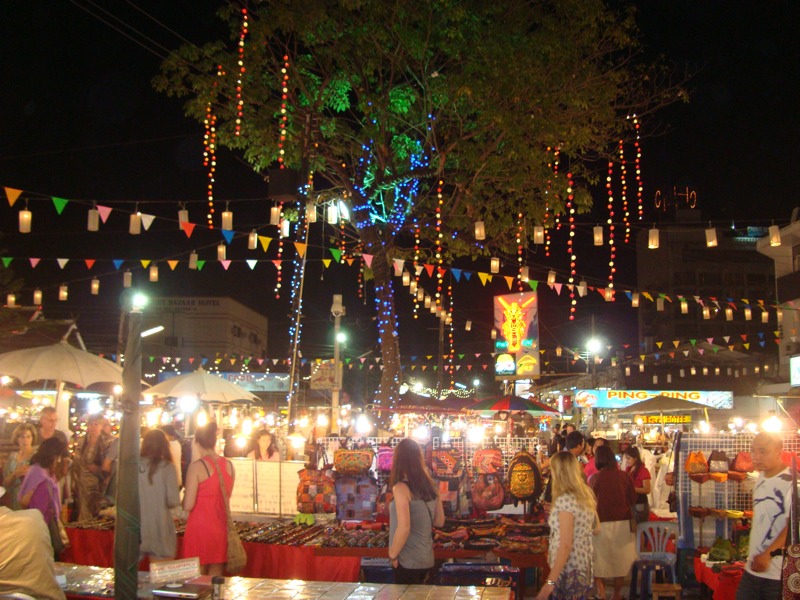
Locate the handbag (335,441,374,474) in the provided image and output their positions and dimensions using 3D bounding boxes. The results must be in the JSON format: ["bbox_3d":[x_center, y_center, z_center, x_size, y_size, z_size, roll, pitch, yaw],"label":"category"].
[{"bbox_3d":[-0.736,2.508,14.482,0.599,0.391,0.189,1,-14,-2],"label":"handbag"}]

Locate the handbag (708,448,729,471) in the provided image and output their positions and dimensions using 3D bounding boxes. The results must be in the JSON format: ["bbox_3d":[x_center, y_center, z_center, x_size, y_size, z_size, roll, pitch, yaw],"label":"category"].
[{"bbox_3d":[5.581,2.813,16.344,0.310,0.326,0.327,2,-1,8],"label":"handbag"}]

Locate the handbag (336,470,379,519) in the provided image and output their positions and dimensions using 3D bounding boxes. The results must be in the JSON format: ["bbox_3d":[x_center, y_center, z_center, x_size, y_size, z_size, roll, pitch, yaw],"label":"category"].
[{"bbox_3d":[-0.684,3.043,14.351,0.677,0.697,0.531,-2,-6,15],"label":"handbag"}]

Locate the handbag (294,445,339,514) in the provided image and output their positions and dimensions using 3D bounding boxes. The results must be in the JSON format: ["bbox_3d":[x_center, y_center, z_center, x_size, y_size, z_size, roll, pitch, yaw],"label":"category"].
[{"bbox_3d":[-1.323,2.948,15.106,0.670,1.121,0.626,1,-19,6],"label":"handbag"}]

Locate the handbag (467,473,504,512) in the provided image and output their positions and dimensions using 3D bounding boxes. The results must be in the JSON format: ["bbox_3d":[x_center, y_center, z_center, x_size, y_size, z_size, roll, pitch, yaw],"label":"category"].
[{"bbox_3d":[1.383,3.065,14.967,0.534,0.564,0.571,0,-4,-11],"label":"handbag"}]

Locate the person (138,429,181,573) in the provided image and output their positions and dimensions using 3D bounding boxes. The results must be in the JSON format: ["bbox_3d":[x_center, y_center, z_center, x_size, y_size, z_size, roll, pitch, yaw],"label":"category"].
[{"bbox_3d":[-3.296,2.661,12.695,0.550,1.748,0.416,6,-14,-20],"label":"person"}]

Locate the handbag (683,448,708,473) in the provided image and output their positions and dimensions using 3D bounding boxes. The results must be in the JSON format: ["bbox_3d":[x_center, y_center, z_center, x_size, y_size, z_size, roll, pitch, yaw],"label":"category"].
[{"bbox_3d":[5.187,2.809,16.298,0.346,0.372,0.370,0,-3,-20],"label":"handbag"}]

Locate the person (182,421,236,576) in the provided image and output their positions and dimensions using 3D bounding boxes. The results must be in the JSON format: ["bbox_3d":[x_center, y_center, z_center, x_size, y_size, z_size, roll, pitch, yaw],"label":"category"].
[{"bbox_3d":[-2.507,2.564,12.136,0.601,1.968,0.551,3,-13,-11],"label":"person"}]

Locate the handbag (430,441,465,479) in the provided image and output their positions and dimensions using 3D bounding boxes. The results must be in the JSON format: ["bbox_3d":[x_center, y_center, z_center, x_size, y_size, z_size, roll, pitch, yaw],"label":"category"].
[{"bbox_3d":[0.745,2.654,15.301,0.487,0.130,0.472,-3,10,-24],"label":"handbag"}]
